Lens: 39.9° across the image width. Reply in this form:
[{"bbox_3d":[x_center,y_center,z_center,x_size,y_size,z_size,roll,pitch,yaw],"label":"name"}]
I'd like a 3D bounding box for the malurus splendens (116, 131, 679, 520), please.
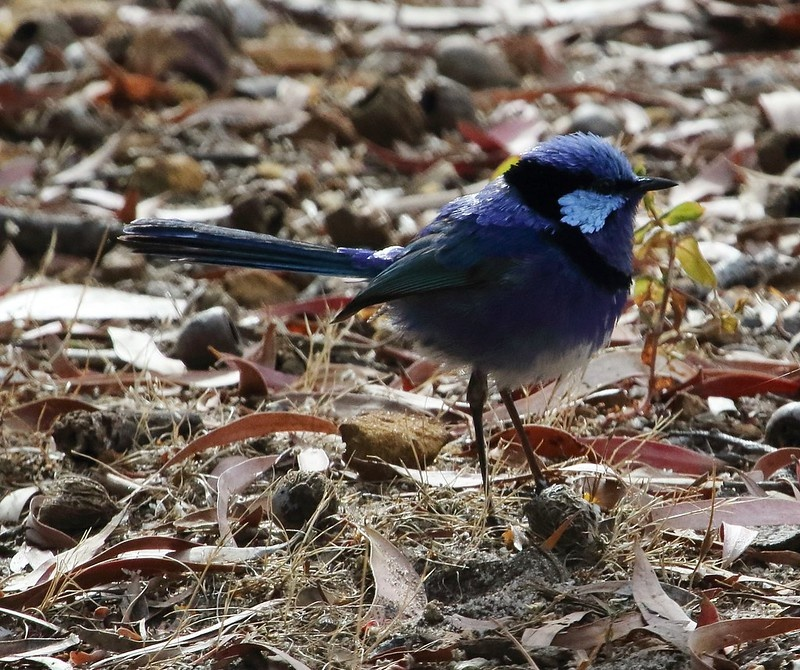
[{"bbox_3d":[0.352,-0.180,3.799,0.803,1.003,0.722,18,31,17],"label":"malurus splendens"}]
